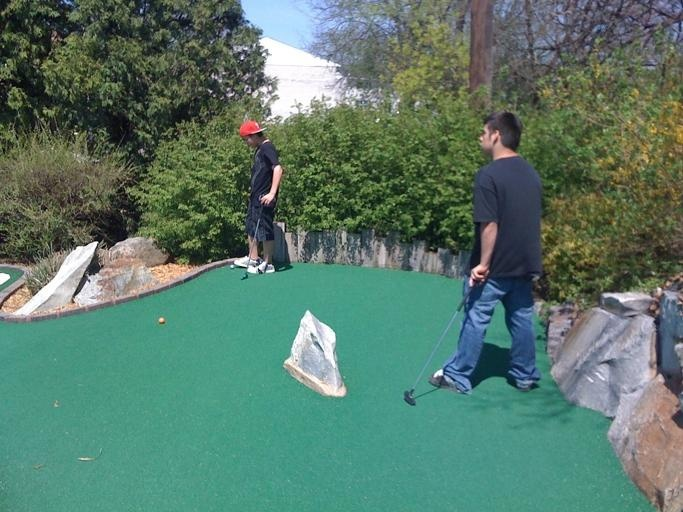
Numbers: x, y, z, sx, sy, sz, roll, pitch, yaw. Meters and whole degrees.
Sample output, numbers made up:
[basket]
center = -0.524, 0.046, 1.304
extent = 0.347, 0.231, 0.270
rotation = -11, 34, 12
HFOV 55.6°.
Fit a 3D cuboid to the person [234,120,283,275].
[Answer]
[person]
center = -1.350, -0.924, 10.602
extent = 0.781, 2.460, 0.648
rotation = 18, 25, 39
